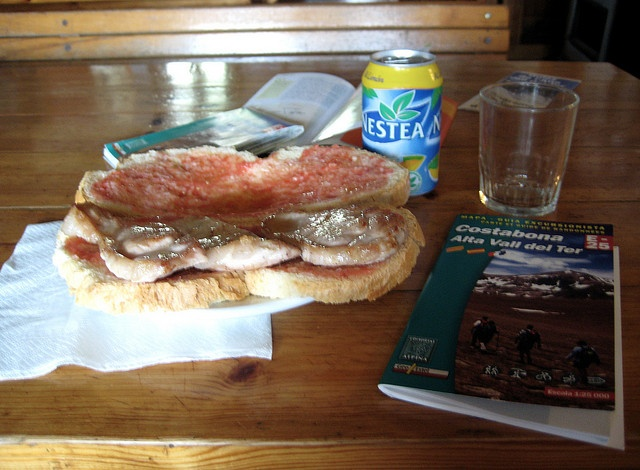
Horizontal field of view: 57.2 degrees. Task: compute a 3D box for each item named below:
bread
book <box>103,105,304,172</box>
[{"bbox_3d":[-0.092,-0.010,0.684,0.444,0.073,0.193,-2,36,-13],"label":"bread"},{"bbox_3d":[-0.195,-0.169,1.027,0.336,0.034,0.276,-6,1,27],"label":"book"}]
